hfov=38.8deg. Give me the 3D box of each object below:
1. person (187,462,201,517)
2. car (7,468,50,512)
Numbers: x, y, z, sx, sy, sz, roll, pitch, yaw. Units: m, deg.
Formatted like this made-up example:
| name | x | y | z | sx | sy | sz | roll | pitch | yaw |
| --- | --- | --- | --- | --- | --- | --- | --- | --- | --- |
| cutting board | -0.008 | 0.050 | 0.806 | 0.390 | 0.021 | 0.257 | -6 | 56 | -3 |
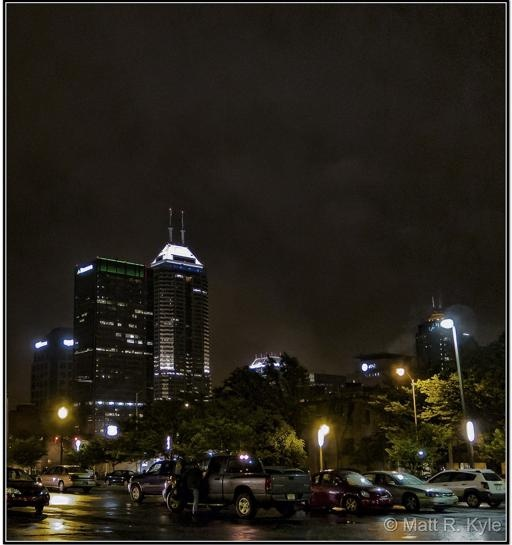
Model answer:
| name | x | y | z | sx | sy | sz | roll | pitch | yaw |
| --- | --- | --- | --- | --- | --- | --- | --- | --- | --- |
| person | -1.963 | 7.017 | 23.285 | 0.482 | 1.616 | 1.434 | 0 | -17 | -5 |
| car | -8.003 | 7.698 | 25.307 | 1.338 | 1.526 | 5.223 | 4 | -18 | -18 |
